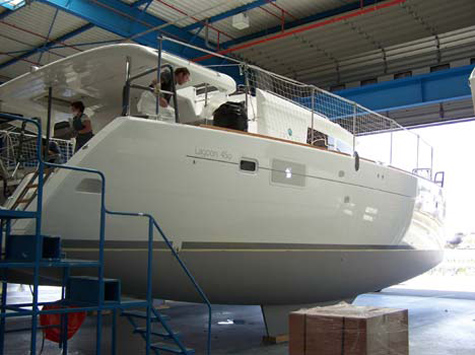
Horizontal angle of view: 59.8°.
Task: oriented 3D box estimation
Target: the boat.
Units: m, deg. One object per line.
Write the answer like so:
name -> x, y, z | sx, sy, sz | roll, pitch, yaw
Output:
boat -> 0.559, 0.611, 7.001 | 7.175, 3.461, 3.367 | 12, -15, -35
